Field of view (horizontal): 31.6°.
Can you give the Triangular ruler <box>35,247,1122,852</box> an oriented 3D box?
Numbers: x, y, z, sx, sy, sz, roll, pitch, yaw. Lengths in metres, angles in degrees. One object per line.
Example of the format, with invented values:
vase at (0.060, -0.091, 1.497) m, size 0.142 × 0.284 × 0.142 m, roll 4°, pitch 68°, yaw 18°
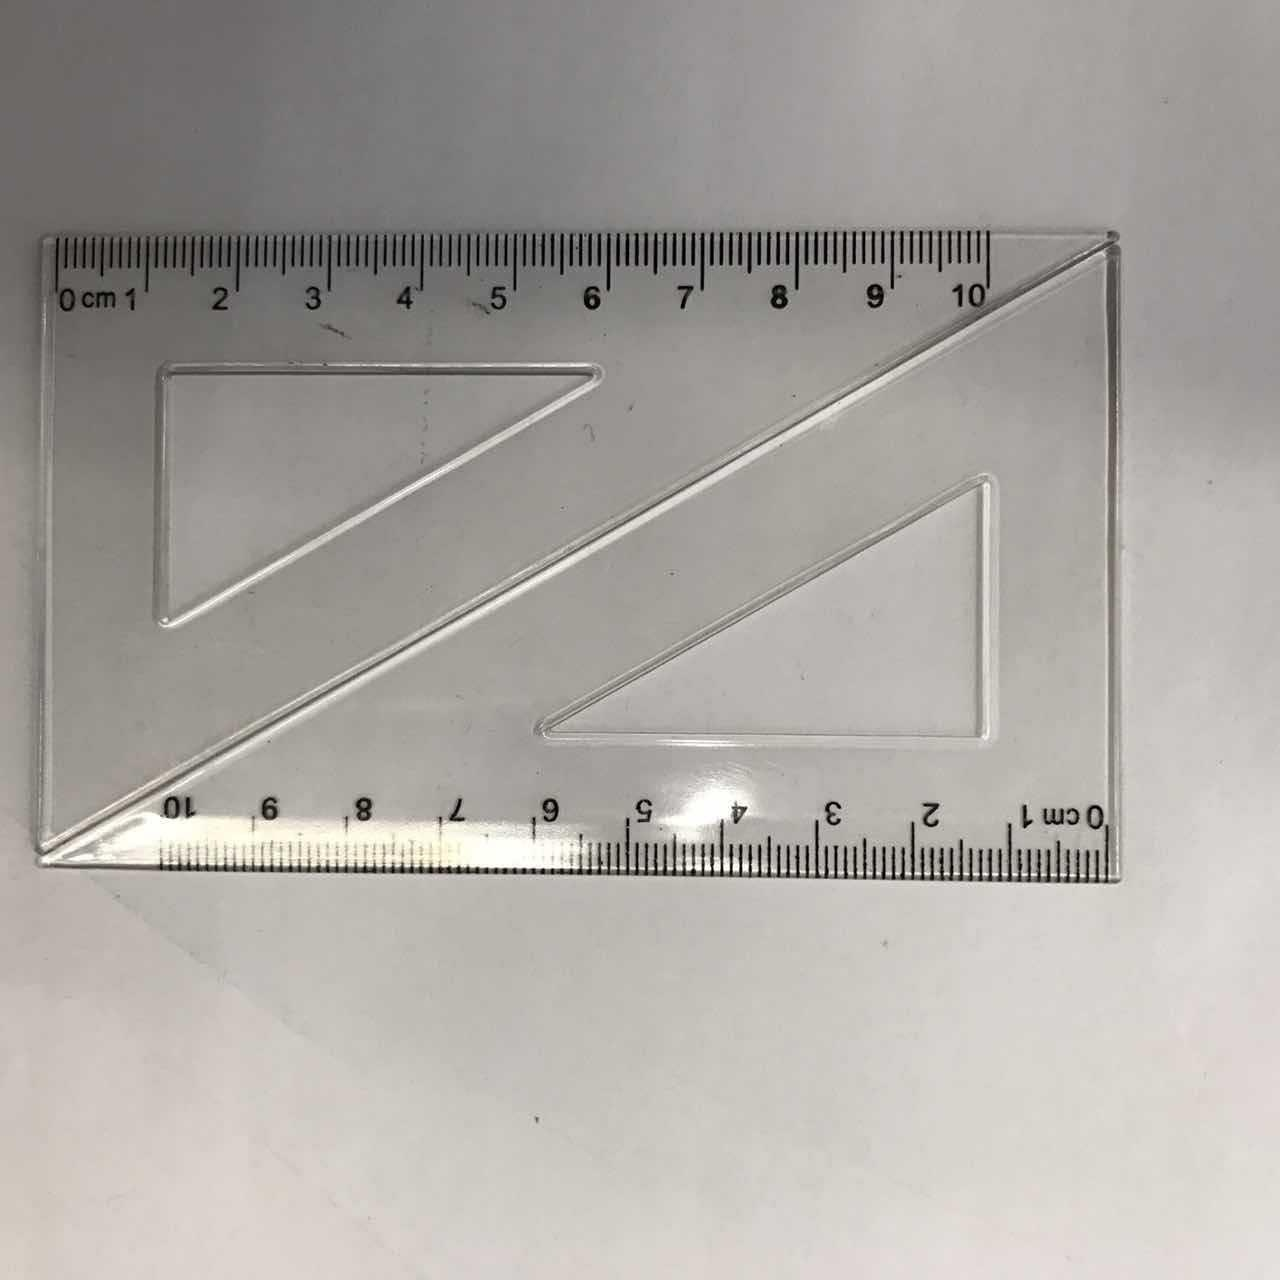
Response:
Triangular ruler at (-0.073, -0.111, 2.808) m, size 1.351 × 0.831 × 0.156 m, roll -2°, pitch -12°, yaw 0°
